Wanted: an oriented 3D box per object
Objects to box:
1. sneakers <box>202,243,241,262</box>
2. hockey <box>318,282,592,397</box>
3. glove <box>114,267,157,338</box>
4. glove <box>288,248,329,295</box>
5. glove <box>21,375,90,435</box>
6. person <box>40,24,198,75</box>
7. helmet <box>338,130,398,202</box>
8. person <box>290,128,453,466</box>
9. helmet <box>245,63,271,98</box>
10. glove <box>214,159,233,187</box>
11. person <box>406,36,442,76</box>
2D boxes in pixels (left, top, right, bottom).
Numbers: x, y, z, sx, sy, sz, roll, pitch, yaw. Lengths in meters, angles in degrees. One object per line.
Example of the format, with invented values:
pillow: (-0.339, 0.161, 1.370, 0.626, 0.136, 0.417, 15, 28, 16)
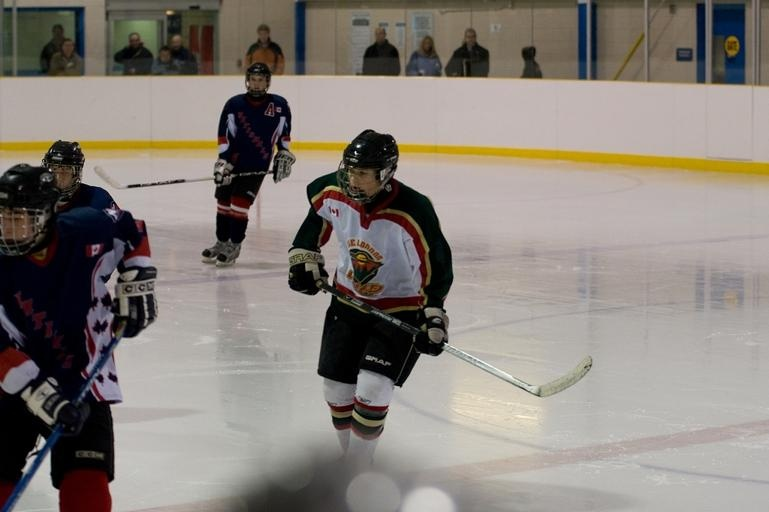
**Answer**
sneakers: (-1.182, -0.028, 7.011, 0.256, 0.157, 0.201, 13, 14, 43)
hockey: (0.330, 0.407, 4.516, 1.091, 0.080, 0.144, 22, -27, -2)
glove: (-0.864, 0.158, 3.382, 0.153, 0.233, 0.105, 1, 3, -5)
glove: (-0.299, 0.040, 4.023, 0.166, 0.167, 0.203, 20, 10, 6)
glove: (-1.063, 0.467, 3.108, 0.188, 0.076, 0.133, 39, 41, -9)
person: (-3.603, -2.738, 13.237, 2.026, 0.673, 0.275, 3, 11, -3)
helmet: (-0.071, -0.353, 3.815, 0.228, 0.269, 0.219, 3, 11, -3)
person: (-0.064, 0.161, 3.881, 0.678, 1.302, 0.342, 12, 14, 34)
helmet: (-0.923, -1.286, 7.115, 0.162, 0.241, 0.267, 2, 11, -10)
glove: (-1.165, -0.605, 7.066, 0.135, 0.198, 0.154, 2, 11, -9)
person: (0.507, -2.673, 13.078, 0.594, 0.735, 0.417, 0, 4, -2)
